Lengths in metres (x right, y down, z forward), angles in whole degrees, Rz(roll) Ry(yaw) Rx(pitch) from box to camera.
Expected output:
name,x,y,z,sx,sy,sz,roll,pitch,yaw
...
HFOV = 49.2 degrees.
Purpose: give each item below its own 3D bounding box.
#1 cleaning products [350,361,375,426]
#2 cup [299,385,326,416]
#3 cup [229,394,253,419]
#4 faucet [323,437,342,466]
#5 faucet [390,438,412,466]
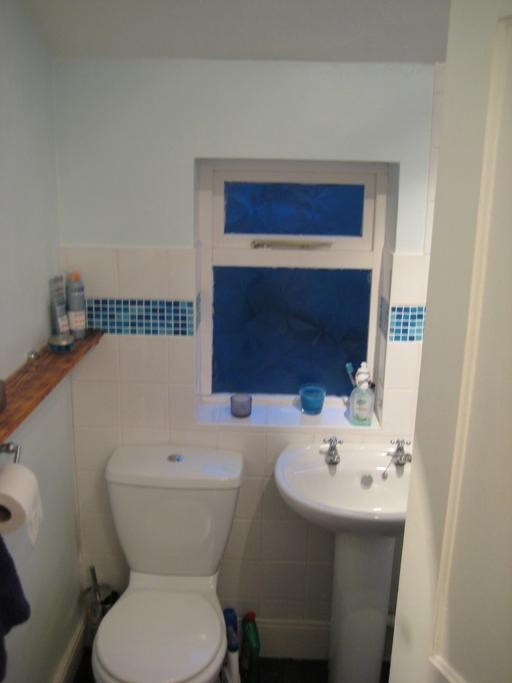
name,x,y,z,sx,sy,sz,roll,pitch,yaw
cleaning products,0.377,0.170,1.980,0.092,0.225,0.131,4,12,14
cup,0.205,0.214,2.073,0.077,0.087,0.094,-13,27,-35
cup,-0.054,0.222,2.039,0.077,0.074,0.130,1,14,-2
faucet,0.253,0.352,1.881,0.067,0.135,0.063,-2,14,4
faucet,0.481,0.356,1.851,0.060,0.088,0.125,4,14,16
